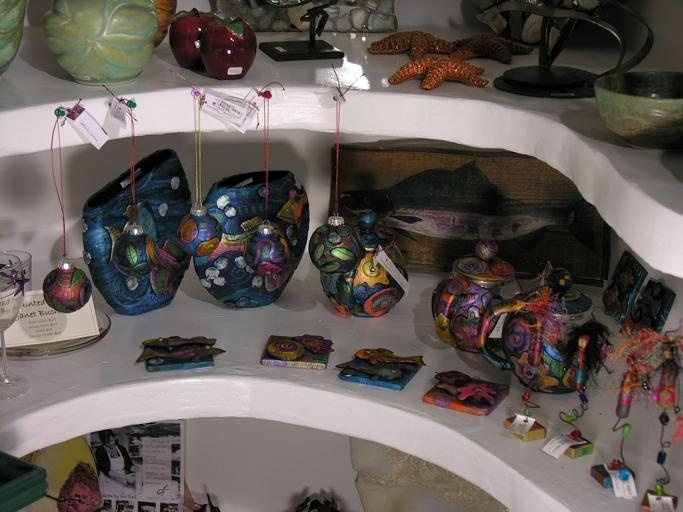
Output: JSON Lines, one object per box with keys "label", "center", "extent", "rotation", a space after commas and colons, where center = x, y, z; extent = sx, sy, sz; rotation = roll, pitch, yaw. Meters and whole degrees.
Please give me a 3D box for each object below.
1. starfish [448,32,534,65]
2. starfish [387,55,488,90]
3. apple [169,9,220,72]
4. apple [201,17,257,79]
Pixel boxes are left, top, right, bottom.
{"label": "starfish", "center": [0.329, -0.446, 1.137], "extent": [0.143, 0.041, 0.147], "rotation": [6, 18, 13]}
{"label": "starfish", "center": [0.178, -0.340, 0.983], "extent": [0.120, 0.040, 0.145], "rotation": [-22, 35, -37]}
{"label": "apple", "center": [-0.279, -0.393, 0.986], "extent": [0.102, 0.122, 0.103], "rotation": [0, 20, -15]}
{"label": "apple", "center": [-0.206, -0.372, 0.944], "extent": [0.101, 0.105, 0.068], "rotation": [-1, 18, -5]}
